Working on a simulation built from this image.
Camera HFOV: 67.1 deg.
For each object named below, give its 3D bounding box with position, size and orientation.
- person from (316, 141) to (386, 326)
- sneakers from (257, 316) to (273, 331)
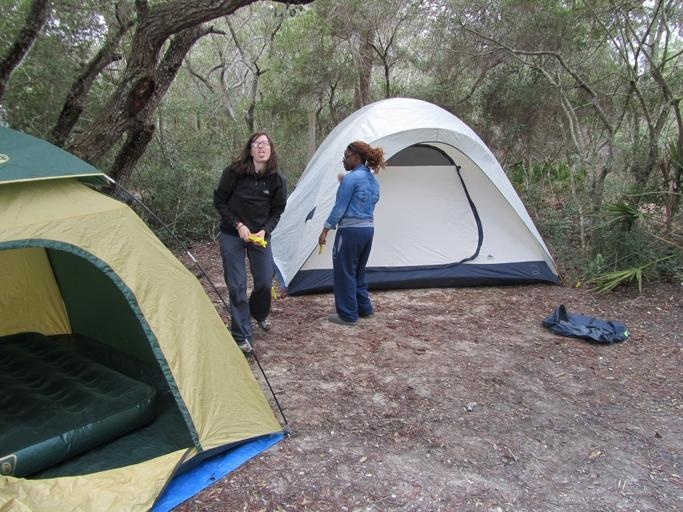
[{"bbox_3d":[0.136,-0.285,6.077,0.458,2.168,0.690,12,9,43],"label":"person"},{"bbox_3d":[-0.880,0.775,5.862,0.092,0.089,0.192,-8,10,-40],"label":"sneakers"}]
